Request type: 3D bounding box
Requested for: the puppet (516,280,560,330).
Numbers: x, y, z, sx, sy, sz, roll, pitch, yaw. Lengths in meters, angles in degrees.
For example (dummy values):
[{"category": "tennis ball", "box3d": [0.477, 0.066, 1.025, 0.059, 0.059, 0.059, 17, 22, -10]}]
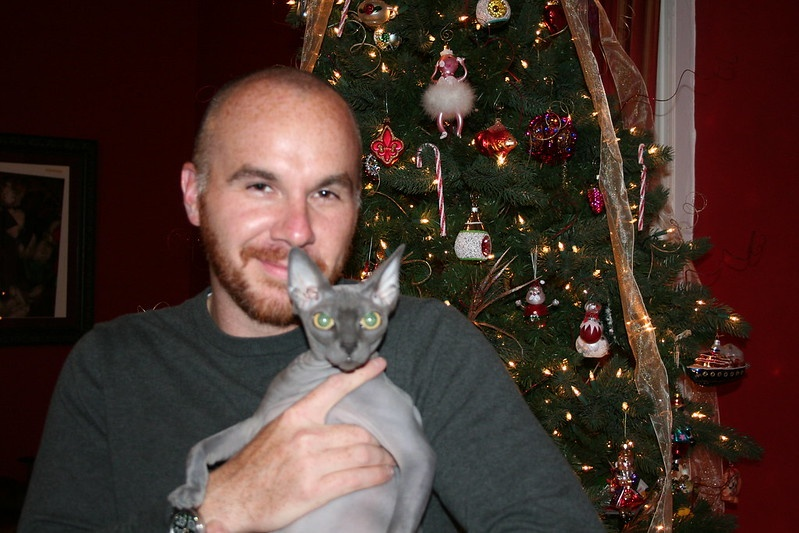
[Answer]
[{"category": "puppet", "box3d": [0.748, 0.182, 3.974, 0.232, 0.317, 0.159, -2, 13, 14]}]
